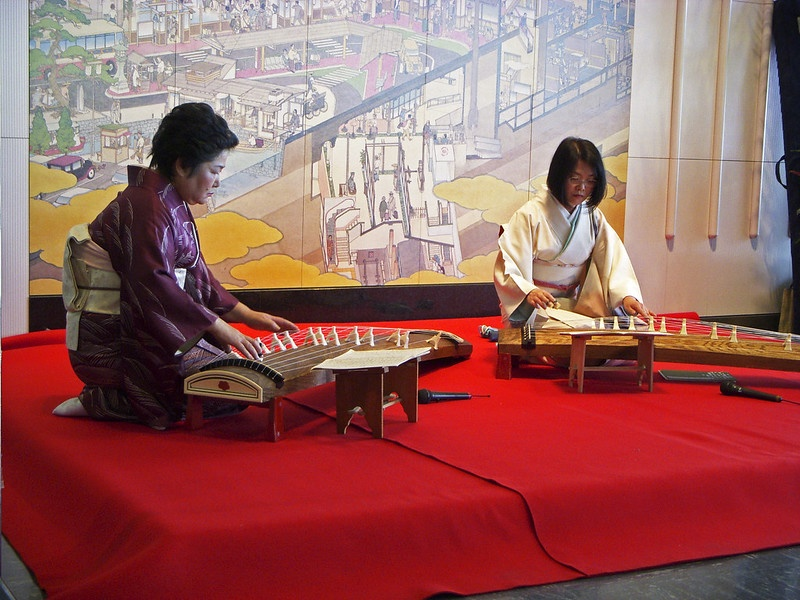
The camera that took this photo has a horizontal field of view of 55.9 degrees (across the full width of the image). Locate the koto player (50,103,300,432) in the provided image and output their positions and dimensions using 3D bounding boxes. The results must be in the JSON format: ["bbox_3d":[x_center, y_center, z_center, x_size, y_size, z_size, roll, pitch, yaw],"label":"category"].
[{"bbox_3d":[-0.937,-0.130,3.465,1.158,1.430,0.938,4,3,-17],"label":"koto player"}]

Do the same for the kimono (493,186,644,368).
[{"bbox_3d":[0.974,-0.181,4.695,0.838,1.052,0.727,6,17,-8],"label":"kimono"}]

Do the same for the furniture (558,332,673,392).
[{"bbox_3d":[1.102,0.319,3.923,0.516,0.286,0.423,0,-1,-4],"label":"furniture"}]

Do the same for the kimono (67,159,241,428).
[{"bbox_3d":[-1.062,-0.029,3.447,0.926,1.174,0.898,6,3,-9],"label":"kimono"}]

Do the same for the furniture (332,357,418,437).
[{"bbox_3d":[-0.078,0.382,3.226,0.283,0.354,0.471,4,8,29],"label":"furniture"}]

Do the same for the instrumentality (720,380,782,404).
[{"bbox_3d":[1.760,0.471,3.840,0.359,0.098,0.093,3,39,32],"label":"instrumentality"}]

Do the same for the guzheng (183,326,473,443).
[{"bbox_3d":[-0.351,0.291,3.479,0.442,0.285,1.198,4,5,31],"label":"guzheng"}]
